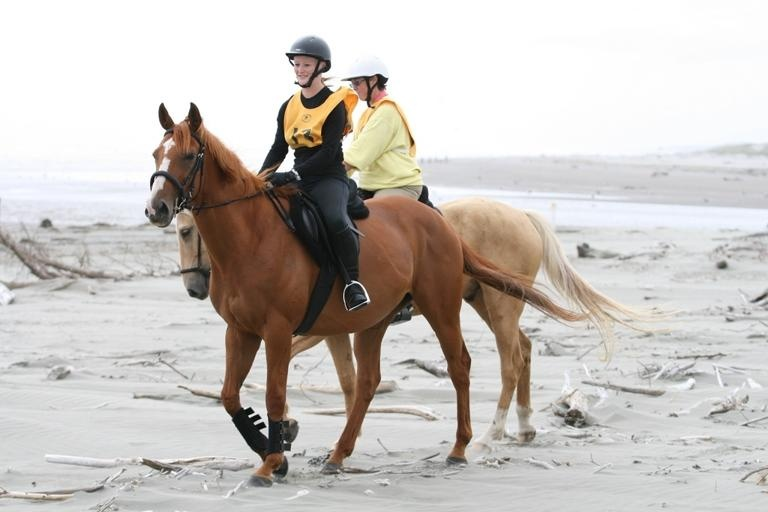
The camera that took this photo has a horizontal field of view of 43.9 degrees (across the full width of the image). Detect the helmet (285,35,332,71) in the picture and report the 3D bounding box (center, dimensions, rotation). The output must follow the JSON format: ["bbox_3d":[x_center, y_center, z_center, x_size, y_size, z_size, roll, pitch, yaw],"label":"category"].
[{"bbox_3d":[-0.909,-2.460,11.617,0.502,0.412,0.292,0,11,-7],"label":"helmet"}]

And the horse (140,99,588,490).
[{"bbox_3d":[-0.230,0.697,12.408,6.825,4.294,1.594,2,-8,-39],"label":"horse"}]

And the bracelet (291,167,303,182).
[{"bbox_3d":[-1.060,-0.986,11.662,0.111,0.142,0.053,-23,-9,-20],"label":"bracelet"}]
